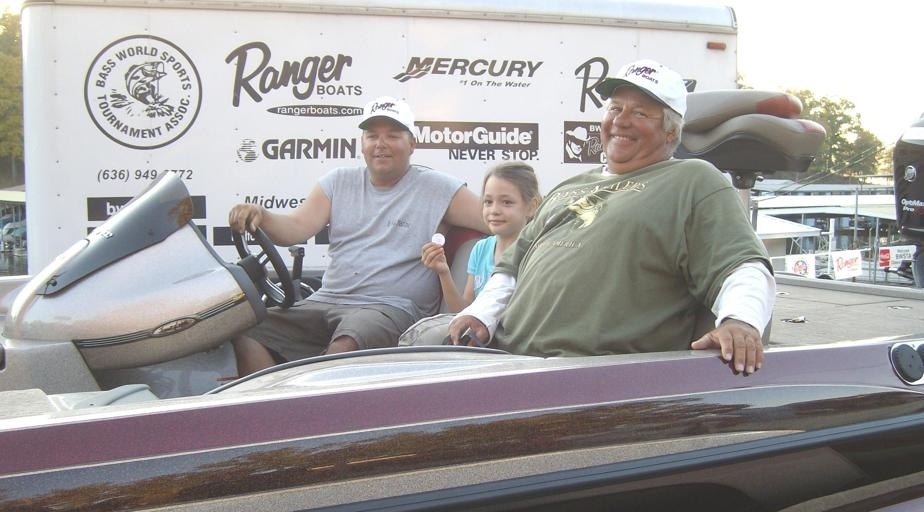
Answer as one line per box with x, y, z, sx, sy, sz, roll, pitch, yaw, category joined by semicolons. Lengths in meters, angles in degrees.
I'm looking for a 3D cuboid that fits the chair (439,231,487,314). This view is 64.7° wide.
-0.024;0.109;4.933;0.383;0.495;0.275;3;4;4;chair

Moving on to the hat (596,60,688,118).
1.015;-0.985;4.111;0.460;0.254;0.324;27;5;-43;hat

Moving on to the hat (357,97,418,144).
-0.562;-1.012;5.237;0.415;0.284;0.552;1;-2;-15;hat
